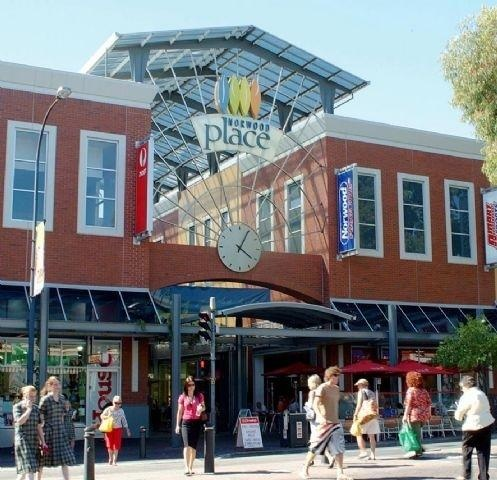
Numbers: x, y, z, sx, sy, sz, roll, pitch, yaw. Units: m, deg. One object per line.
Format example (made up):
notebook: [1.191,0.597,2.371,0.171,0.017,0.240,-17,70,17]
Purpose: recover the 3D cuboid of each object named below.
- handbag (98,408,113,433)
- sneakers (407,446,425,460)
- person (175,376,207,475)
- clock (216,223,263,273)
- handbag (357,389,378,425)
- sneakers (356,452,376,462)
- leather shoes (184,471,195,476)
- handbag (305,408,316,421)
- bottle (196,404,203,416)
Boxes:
handbag: [-3.353,4.247,18.974,0.315,0.600,0.646,-1,-12,-11]
sneakers: [3.712,4.776,17.889,0.191,0.247,0.594,-6,-27,16]
person: [-1.158,3.720,16.157,0.551,1.917,0.652,-2,-11,-6]
clock: [-0.380,0.387,28.882,1.486,1.735,0.131,4,-11,-32]
handbag: [2.572,3.687,17.617,0.373,0.826,0.283,21,-37,-32]
sneakers: [2.579,4.765,17.663,0.517,0.268,0.177,2,-5,14]
leather shoes: [-1.166,4.592,15.833,0.192,0.081,0.309,-3,-13,-6]
handbag: [1.246,3.560,16.496,0.263,0.285,0.185,19,-23,-36]
bottle: [-0.981,3.408,16.009,0.131,0.199,0.057,12,-4,38]
